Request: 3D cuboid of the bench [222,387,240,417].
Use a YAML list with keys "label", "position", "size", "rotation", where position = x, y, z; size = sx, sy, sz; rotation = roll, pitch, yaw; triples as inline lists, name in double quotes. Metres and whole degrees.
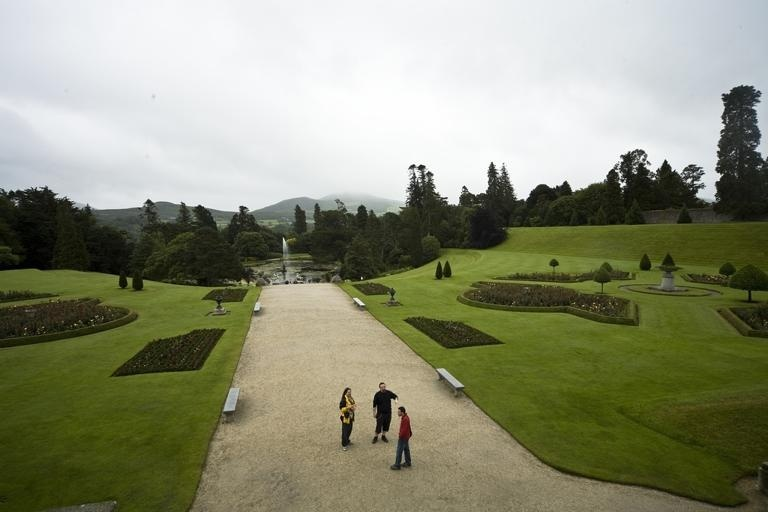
- label: "bench"
  position: [-6.974, 6.678, 16.314]
  size: [0.392, 0.212, 1.011]
  rotation: [-3, 22, -4]
